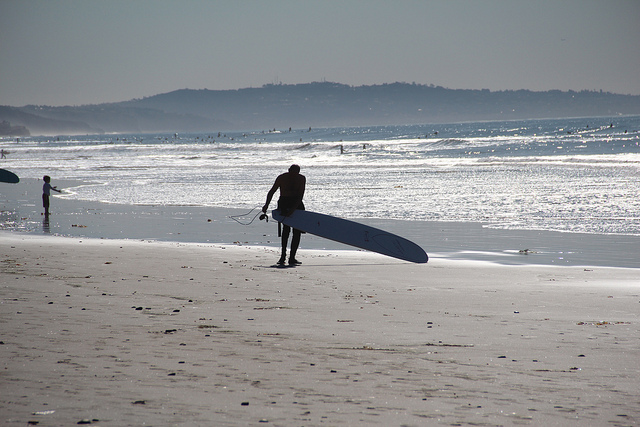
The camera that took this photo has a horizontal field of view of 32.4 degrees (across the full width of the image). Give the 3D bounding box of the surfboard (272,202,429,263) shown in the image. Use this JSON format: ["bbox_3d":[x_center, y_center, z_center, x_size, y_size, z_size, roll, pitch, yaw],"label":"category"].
[{"bbox_3d":[0.567,0.353,20.927,3.244,0.468,0.305,16,-5,29],"label":"surfboard"}]

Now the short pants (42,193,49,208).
[{"bbox_3d":[-6.584,-0.303,26.376,0.128,0.327,0.149,10,-9,-28],"label":"short pants"}]
